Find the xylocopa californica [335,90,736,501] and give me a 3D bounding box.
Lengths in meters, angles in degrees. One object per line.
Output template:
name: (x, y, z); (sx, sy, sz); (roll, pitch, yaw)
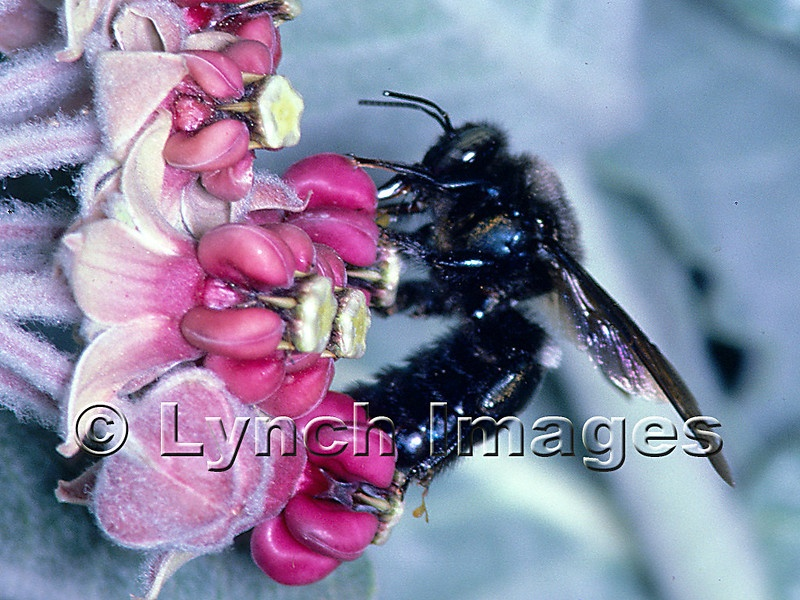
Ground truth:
xylocopa californica: (0.131, -0.015, 1.319); (0.139, 0.315, 0.413); (-31, 102, -29)
